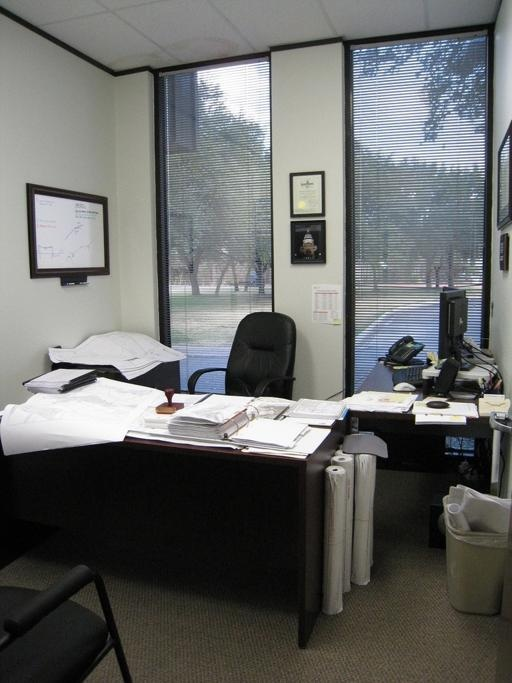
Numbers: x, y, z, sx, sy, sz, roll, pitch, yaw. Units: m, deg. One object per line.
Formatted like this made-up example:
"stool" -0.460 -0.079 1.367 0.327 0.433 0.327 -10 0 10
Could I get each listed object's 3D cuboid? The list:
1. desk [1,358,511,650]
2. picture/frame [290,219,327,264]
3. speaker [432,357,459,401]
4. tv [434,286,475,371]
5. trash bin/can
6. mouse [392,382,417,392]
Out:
"desk" -0.344 0.561 1.951 1.209 0.729 0.502 1 5 17
"picture/frame" 0.352 -0.669 3.530 0.268 0.329 0.022 1 6 18
"speaker" 0.864 0.172 2.461 0.041 0.186 0.095 10 13 -14
"tv" 1.048 -0.065 2.806 0.060 0.598 0.418 4 8 32
"trash bin/can" 0.750 0.728 1.897 0.173 0.414 0.305 -1 5 -7
"mouse" 0.724 0.224 2.625 0.074 0.029 0.053 -3 5 -1
